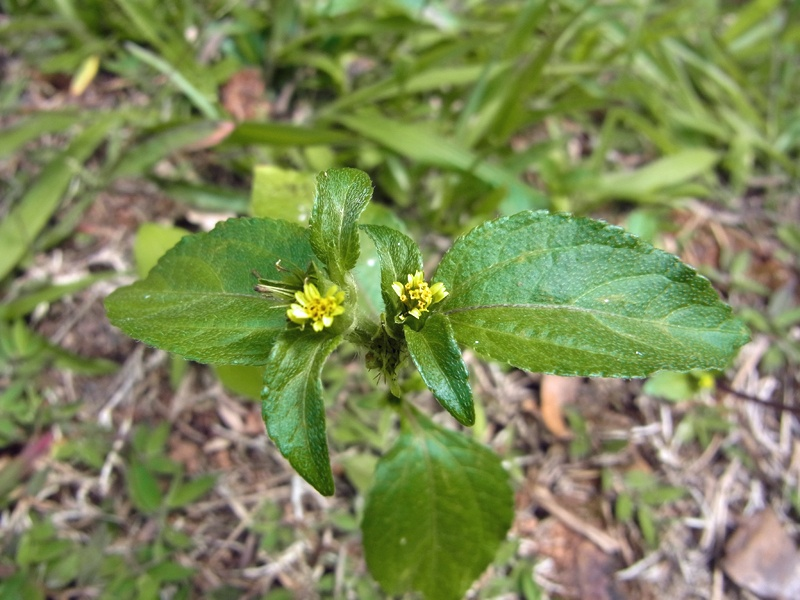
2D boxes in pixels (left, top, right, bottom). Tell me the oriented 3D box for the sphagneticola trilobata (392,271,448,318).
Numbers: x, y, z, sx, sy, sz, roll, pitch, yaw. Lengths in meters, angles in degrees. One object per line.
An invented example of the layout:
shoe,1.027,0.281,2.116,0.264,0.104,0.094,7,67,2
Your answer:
sphagneticola trilobata,0.042,-0.009,1.491,0.105,0.057,0.103,-27,85,-22

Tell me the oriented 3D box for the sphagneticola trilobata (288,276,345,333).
sphagneticola trilobata,-0.172,0.015,1.407,0.108,0.072,0.104,17,80,2
